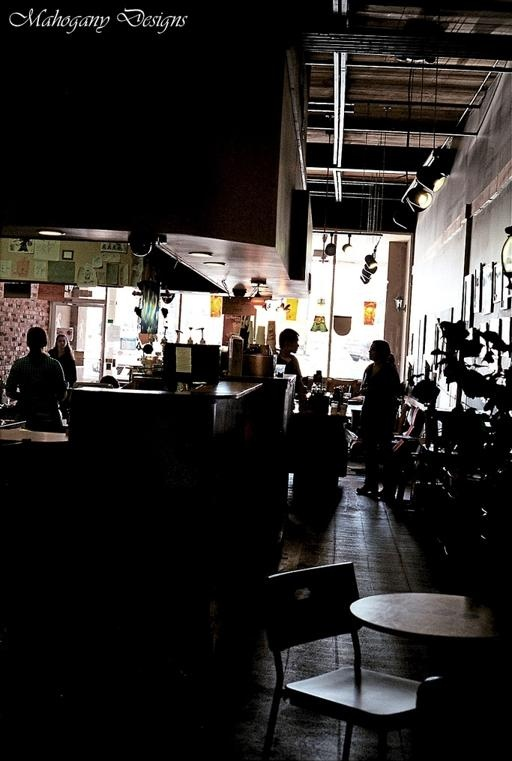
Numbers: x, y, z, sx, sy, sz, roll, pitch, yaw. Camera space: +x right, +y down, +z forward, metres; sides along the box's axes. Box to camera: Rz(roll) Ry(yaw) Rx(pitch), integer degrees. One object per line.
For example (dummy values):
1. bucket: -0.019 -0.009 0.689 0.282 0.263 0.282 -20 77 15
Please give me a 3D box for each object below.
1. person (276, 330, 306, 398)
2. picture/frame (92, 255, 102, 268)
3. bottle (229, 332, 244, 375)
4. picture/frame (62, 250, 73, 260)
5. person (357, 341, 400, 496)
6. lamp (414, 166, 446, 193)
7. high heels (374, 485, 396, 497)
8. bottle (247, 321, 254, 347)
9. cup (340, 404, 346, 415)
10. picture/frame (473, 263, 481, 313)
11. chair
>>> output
1. person: 0.452 -0.198 7.491 0.364 0.750 1.193 4 2 3
2. picture/frame: -1.950 -1.456 7.263 0.119 0.150 0.032 3 1 -20
3. bottle: -0.187 -0.233 5.627 0.107 0.425 0.372 0 -1 -6
4. picture/frame: -2.280 -1.511 7.189 0.099 0.124 0.027 5 -1 -6
5. person: 1.496 0.511 7.223 0.427 1.740 0.592 4 2 11
6. lamp: 1.720 -1.997 5.871 0.274 0.237 0.247 5 2 15
7. high heels: 1.649 1.411 7.465 0.173 0.164 0.195 1 -2 -11
8. bottle: -0.065 -0.571 7.094 0.068 0.234 0.272 3 2 -5
9. cup: 1.461 0.503 9.937 0.100 0.152 0.459 4 2 13
10. picture/frame: 2.517 -1.025 6.719 0.042 0.544 0.524 4 1 14
11. chair: 0.235 0.894 1.732 0.464 0.519 0.508 5 2 22
